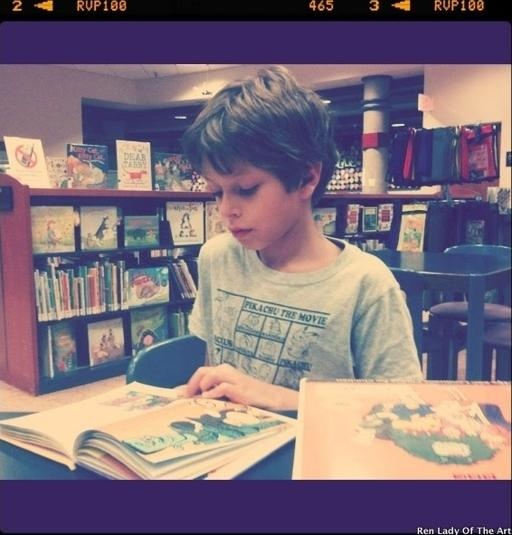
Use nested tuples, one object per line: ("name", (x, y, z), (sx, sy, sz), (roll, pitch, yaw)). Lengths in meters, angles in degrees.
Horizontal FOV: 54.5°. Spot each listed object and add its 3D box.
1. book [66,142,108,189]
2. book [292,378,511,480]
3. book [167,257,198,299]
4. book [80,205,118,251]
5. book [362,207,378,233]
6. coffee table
("book", (-1.070, -0.636, 3.145), (0.037, 0.238, 0.271), (4, 31, 38))
("book", (0.236, 0.243, 0.769), (0.380, 0.083, 0.210), (-2, 5, -2))
("book", (-0.509, 0.074, 3.387), (0.203, 0.282, 0.084), (-12, -13, -41))
("book", (-0.994, -0.247, 3.122), (0.250, 0.295, 0.038), (-9, 13, -43))
("book", (1.054, -0.458, 4.708), (0.240, 0.342, 0.044), (0, -1, -34))
("coffee table", (0.711, 0.085, 2.171), (0.632, 0.657, 0.625), (0, 4, 4))
